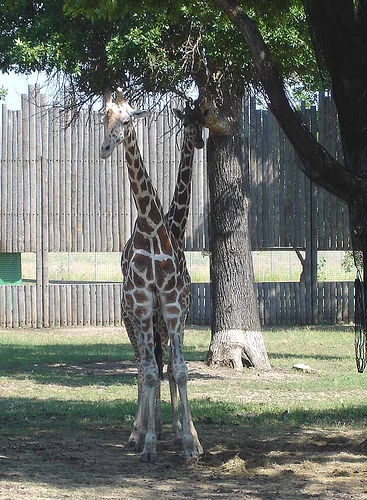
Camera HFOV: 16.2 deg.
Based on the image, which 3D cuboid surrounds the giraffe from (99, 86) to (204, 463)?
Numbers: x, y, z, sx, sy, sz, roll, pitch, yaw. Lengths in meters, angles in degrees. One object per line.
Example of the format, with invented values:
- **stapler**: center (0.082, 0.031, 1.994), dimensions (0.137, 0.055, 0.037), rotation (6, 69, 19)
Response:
- **giraffe**: center (-0.346, 0.221, 13.735), dimensions (1.021, 3.868, 1.324), rotation (0, 2, 1)
